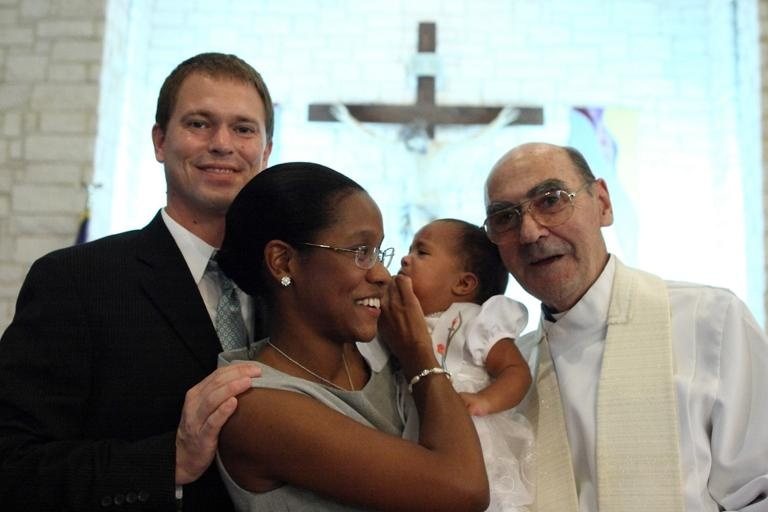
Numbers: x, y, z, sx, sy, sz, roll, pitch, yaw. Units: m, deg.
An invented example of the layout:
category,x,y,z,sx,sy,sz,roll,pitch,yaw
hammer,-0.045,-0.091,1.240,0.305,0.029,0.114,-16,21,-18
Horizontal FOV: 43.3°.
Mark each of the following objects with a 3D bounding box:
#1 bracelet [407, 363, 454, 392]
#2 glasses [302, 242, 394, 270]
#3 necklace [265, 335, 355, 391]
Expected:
category,x,y,z,sx,sy,sz,roll,pitch,yaw
bracelet,0.211,0.615,4.807,0.146,0.042,0.150,-11,-38,-43
glasses,-0.139,-0.006,4.783,0.214,0.069,0.218,3,-7,22
necklace,-0.380,0.524,4.752,0.340,0.047,0.100,34,8,-15
